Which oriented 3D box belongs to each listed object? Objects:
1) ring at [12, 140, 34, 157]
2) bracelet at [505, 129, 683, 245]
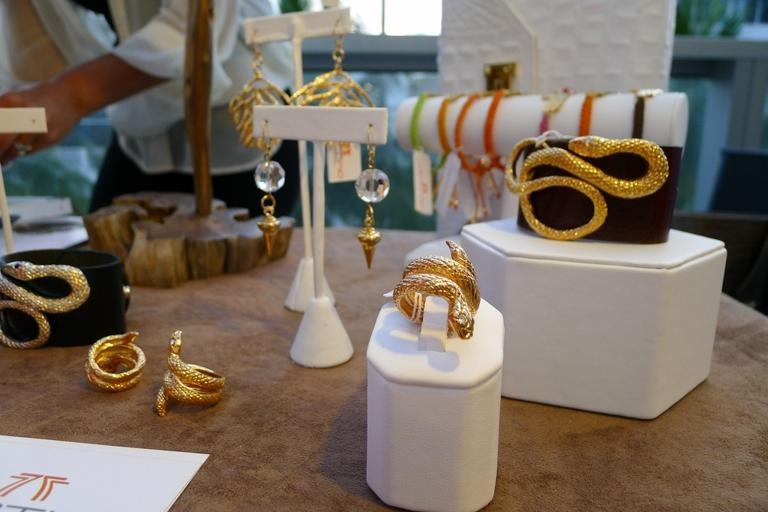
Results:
[{"bbox_3d":[-0.788,-0.236,1.532,0.030,0.031,0.028,0,9,-14],"label":"ring"},{"bbox_3d":[0.355,-0.117,1.202,0.289,0.178,0.078,2,18,10],"label":"bracelet"}]
